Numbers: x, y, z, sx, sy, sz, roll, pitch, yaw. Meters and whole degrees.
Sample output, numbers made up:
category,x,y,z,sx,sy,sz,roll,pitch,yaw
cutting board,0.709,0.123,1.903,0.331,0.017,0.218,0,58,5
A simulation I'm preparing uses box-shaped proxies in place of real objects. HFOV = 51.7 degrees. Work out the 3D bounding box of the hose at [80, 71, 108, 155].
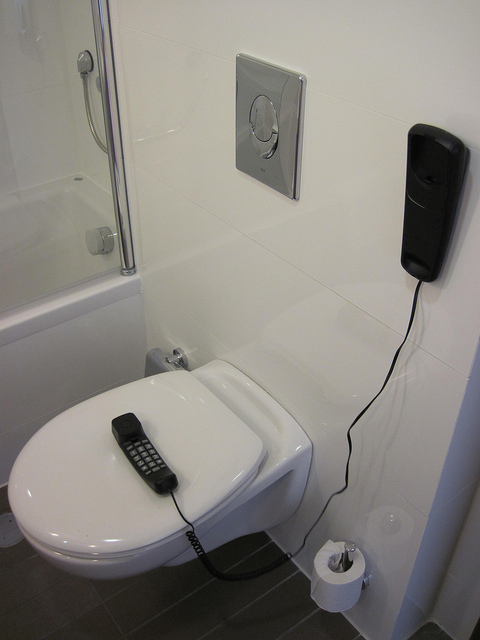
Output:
category,x,y,z,sx,sy,sz,roll,pitch,yaw
hose,-0.369,-0.545,1.274,0.077,0.253,0.024,-7,-9,-44

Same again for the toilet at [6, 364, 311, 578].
category,x,y,z,sx,sy,sz,roll,pitch,yaw
toilet,-0.156,0.380,1.091,0.562,0.336,0.396,-26,48,-32
